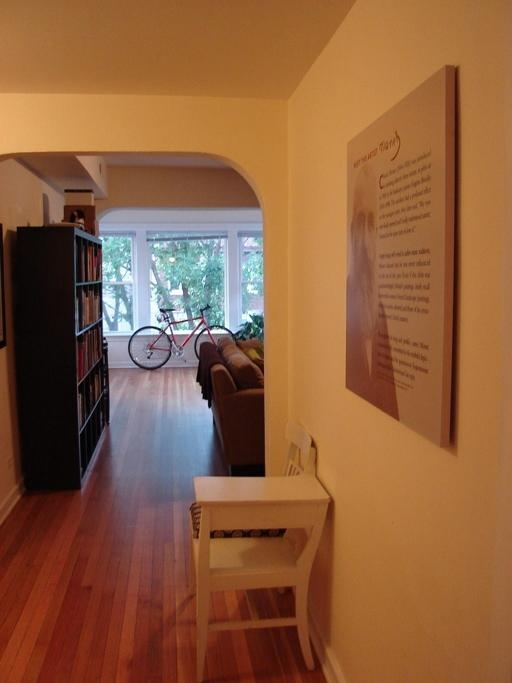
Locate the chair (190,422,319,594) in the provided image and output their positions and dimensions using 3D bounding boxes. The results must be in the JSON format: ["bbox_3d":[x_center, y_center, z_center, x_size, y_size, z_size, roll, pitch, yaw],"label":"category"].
[{"bbox_3d":[0.005,0.607,2.132,0.384,0.882,0.390,1,7,-5],"label":"chair"}]

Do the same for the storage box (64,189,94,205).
[{"bbox_3d":[-1.675,-1.375,4.742,0.156,0.148,0.176,-7,18,-33],"label":"storage box"}]

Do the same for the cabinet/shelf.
[{"bbox_3d":[-1.518,0.073,4.195,0.295,2.015,1.580,0,7,-8],"label":"cabinet/shelf"}]

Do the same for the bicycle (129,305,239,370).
[{"bbox_3d":[-1.180,0.078,8.616,1.838,1.813,0.944,-3,5,-9],"label":"bicycle"}]
